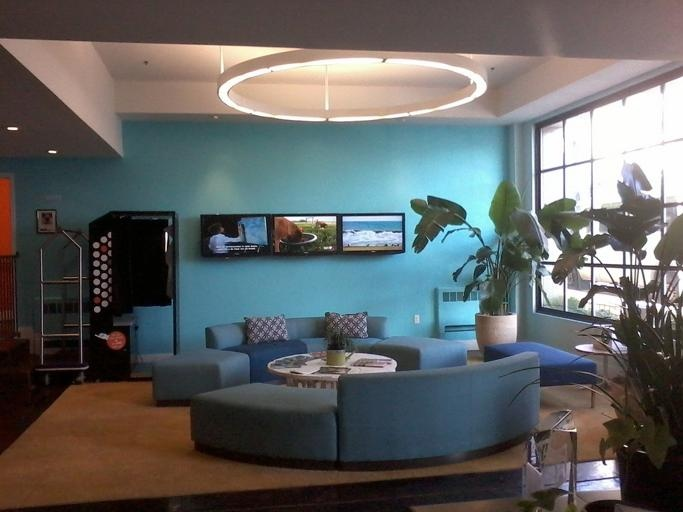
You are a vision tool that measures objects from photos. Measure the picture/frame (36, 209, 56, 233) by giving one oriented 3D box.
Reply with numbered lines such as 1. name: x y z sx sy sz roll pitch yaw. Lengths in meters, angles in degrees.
1. picture/frame: -4.343 -0.532 8.157 0.361 0.420 0.029 0 -2 -16
